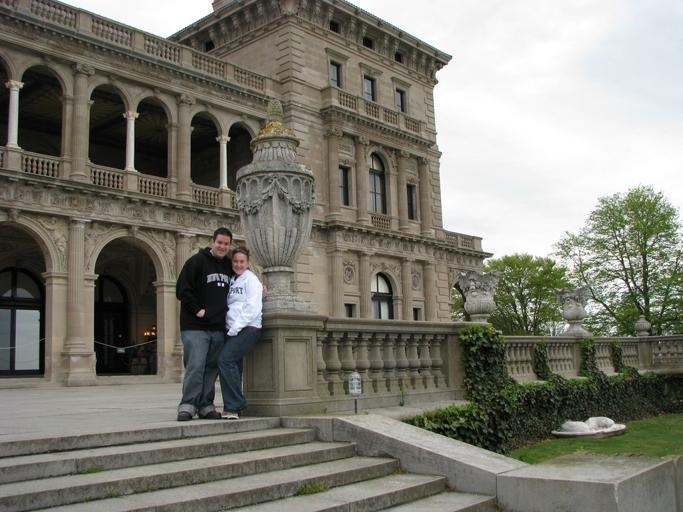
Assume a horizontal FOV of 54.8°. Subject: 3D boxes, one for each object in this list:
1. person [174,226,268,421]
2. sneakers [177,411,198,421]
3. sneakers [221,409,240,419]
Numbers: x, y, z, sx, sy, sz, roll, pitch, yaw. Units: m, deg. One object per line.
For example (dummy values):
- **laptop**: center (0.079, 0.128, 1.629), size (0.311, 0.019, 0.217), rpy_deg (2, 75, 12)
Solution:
- **person**: center (-2.046, 0.981, 9.809), size (0.786, 2.806, 0.569), rpy_deg (1, -10, -10)
- **sneakers**: center (-2.216, 2.262, 9.343), size (0.216, 0.132, 0.133), rpy_deg (3, -11, -21)
- **sneakers**: center (-1.624, 2.313, 9.619), size (0.263, 0.124, 0.106), rpy_deg (-2, -9, 8)
